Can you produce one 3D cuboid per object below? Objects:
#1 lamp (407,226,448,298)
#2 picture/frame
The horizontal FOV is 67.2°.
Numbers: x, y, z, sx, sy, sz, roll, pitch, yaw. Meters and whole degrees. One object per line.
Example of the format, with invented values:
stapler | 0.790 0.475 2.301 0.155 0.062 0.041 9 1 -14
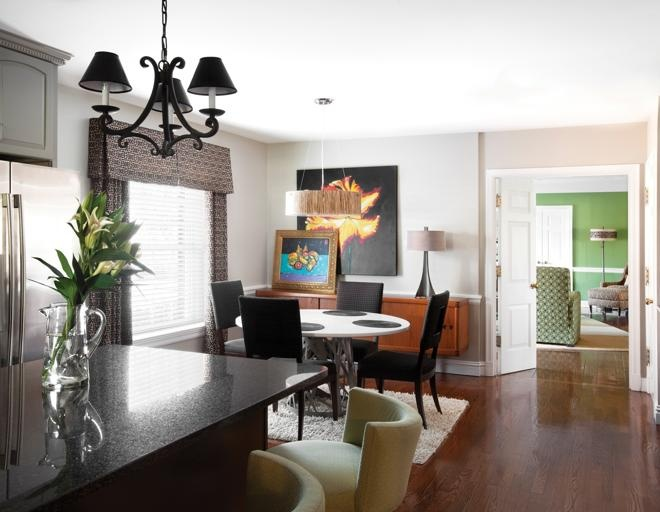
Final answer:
lamp | 1.135 0.060 5.785 0.405 0.804 0.474 2 3 25
picture/frame | -0.285 0.076 6.395 0.777 0.708 0.079 2 -3 21
